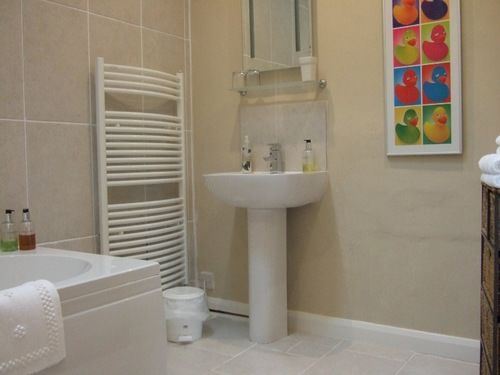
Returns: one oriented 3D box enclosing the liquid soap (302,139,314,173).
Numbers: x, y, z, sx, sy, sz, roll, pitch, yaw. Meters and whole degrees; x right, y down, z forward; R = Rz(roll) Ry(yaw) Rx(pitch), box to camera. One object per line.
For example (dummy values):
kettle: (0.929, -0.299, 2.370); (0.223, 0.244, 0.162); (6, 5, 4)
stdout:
liquid soap: (0.399, -0.220, 2.944); (0.085, 0.204, 0.160); (0, 11, 8)

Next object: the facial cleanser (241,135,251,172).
facial cleanser: (-0.016, -0.250, 3.177); (0.061, 0.248, 0.092); (6, 13, 38)

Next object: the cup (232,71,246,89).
cup: (-0.077, -0.784, 3.186); (0.099, 0.148, 0.172); (-2, 11, -2)

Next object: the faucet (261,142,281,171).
faucet: (0.156, -0.198, 3.044); (0.071, 0.218, 0.133); (2, 10, 32)

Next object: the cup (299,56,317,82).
cup: (0.385, -0.780, 2.884); (0.111, 0.155, 0.086); (-1, 10, 3)

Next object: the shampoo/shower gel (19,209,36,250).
shampoo/shower gel: (-1.246, 0.232, 2.440); (0.088, 0.223, 0.069); (-2, 10, 0)

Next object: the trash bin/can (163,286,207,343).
trash bin/can: (-0.429, 0.813, 2.910); (0.314, 0.316, 0.360); (0, -3, -10)
